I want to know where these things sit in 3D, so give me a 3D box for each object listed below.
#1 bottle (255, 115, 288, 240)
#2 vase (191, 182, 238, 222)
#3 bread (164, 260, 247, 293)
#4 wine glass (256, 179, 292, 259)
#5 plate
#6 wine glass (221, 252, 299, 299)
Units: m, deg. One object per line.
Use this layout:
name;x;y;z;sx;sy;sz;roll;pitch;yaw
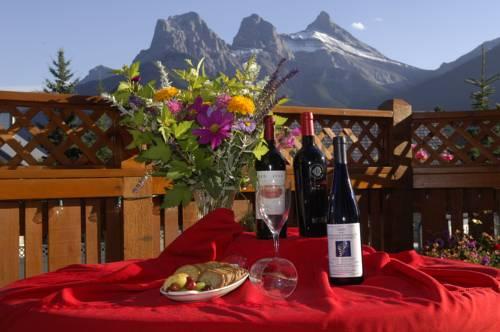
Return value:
bottle;0.156;0.083;4.222;0.245;0.995;0.258;0;-4;0
vase;-0.283;0.276;4.301;0.258;0.309;0.240;-1;12;-1
bread;-0.344;0.797;3.858;0.526;0.230;0.422;7;-4;-34
wine glass;0.177;0.410;4.049;0.213;0.610;0.228;3;-21;-1
plate;-0.338;0.826;3.818;0.593;0.279;0.517;3;-2;-6
wine glass;0.098;0.826;4.000;0.455;0.271;0.241;19;-14;6
